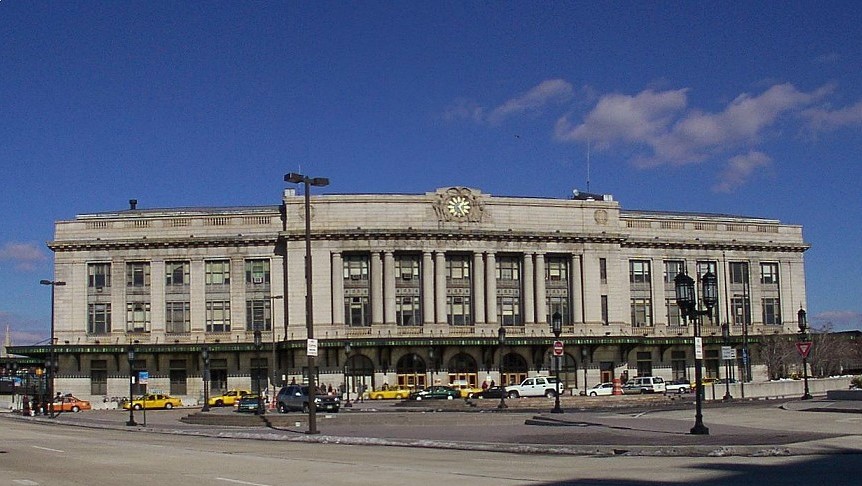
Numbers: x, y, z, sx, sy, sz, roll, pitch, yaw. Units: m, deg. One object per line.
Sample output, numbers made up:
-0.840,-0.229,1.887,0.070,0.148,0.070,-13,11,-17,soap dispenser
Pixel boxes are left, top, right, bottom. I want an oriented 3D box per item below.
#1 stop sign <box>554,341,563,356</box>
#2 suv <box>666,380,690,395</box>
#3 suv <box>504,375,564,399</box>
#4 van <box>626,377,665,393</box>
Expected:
12.080,10.187,122.265,0.633,1.492,1.369,-4,-13,14,stop sign
28.392,16.864,146.900,2.386,0.898,1.468,-2,1,10,suv
11.478,16.407,142.933,6.464,2.205,2.944,1,-7,-1,suv
24.496,16.654,146.670,3.586,1.373,2.039,2,-3,9,van
